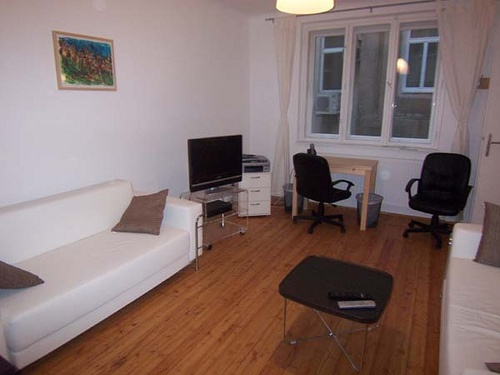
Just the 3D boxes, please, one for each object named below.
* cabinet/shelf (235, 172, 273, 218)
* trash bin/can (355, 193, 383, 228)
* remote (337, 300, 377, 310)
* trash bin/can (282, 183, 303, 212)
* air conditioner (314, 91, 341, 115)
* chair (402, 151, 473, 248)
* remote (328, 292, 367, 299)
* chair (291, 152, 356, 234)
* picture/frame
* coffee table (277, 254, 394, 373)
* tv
[{"bbox_3d":[0.054,0.040,5.560,0.486,0.702,0.377,-2,24,-8],"label":"cabinet/shelf"},{"bbox_3d":[1.655,0.289,5.333,0.419,0.458,0.436,-7,11,-34],"label":"trash bin/can"},{"bbox_3d":[0.800,0.890,2.827,0.311,0.047,0.101,0,23,5],"label":"remote"},{"bbox_3d":[0.592,0.151,5.701,0.364,0.457,0.378,2,8,0],"label":"trash bin/can"},{"bbox_3d":[1.316,-1.367,6.022,0.391,0.404,0.551,-17,21,-39],"label":"air conditioner"},{"bbox_3d":[2.438,0.123,4.832,0.717,1.101,0.895,7,17,31],"label":"chair"},{"bbox_3d":[0.766,0.854,2.918,0.301,0.045,0.056,-2,15,1],"label":"remote"},{"bbox_3d":[1.128,0.047,4.971,0.472,0.737,0.522,23,19,33],"label":"chair"},{"bbox_3d":[-1.773,-1.340,3.906,0.036,0.593,0.704,10,14,31],"label":"picture/frame"},{"bbox_3d":[0.715,0.826,3.076,0.887,0.687,0.770,16,33,31],"label":"coffee table"},{"bbox_3d":[-0.437,-0.292,4.646,0.069,0.515,0.657,14,19,42],"label":"tv"}]
